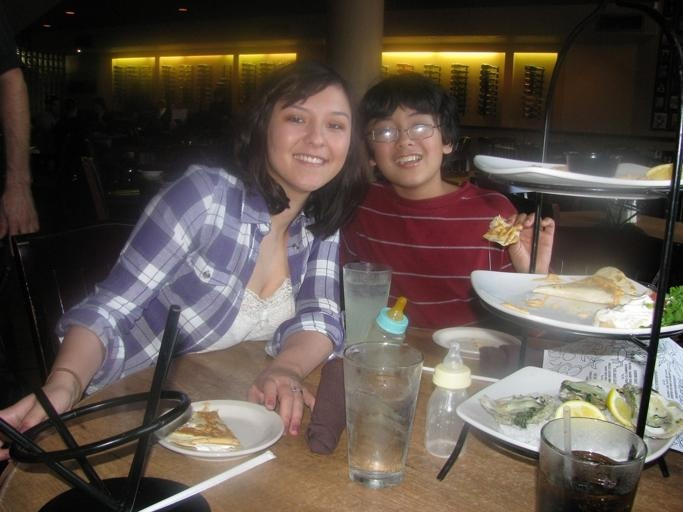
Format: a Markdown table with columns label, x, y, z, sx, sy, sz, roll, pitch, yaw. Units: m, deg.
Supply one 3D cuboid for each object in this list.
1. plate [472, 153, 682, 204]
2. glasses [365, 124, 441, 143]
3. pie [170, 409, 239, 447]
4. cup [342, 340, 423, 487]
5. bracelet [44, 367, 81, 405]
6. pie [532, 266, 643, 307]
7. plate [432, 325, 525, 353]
| label | x | y | z | sx | sy | sz | roll | pitch | yaw |
| --- | --- | --- | --- | --- | --- | --- | --- | --- | --- |
| plate | 0.390 | -0.132 | 0.891 | 0.325 | 0.073 | 0.212 | 4 | 14 | 17 |
| glasses | 0.223 | -0.453 | 1.891 | 0.244 | 0.065 | 0.064 | 1 | 14 | 8 |
| pie | -0.235 | 0.307 | 0.899 | 0.066 | 0.010 | 0.089 | 3 | 3 | -4 |
| cup | 0.067 | 0.256 | 0.824 | 0.122 | 0.222 | 0.096 | -1 | 14 | 0 |
| bracelet | -0.573 | 0.264 | 1.061 | 0.053 | 0.091 | 0.037 | -2 | -29 | -8 |
| pie | 0.465 | 0.059 | 0.954 | 0.129 | 0.040 | 0.092 | 4 | 27 | -5 |
| plate | 0.339 | 0.209 | 1.281 | 0.106 | 0.015 | 0.108 | 6 | 10 | 38 |
